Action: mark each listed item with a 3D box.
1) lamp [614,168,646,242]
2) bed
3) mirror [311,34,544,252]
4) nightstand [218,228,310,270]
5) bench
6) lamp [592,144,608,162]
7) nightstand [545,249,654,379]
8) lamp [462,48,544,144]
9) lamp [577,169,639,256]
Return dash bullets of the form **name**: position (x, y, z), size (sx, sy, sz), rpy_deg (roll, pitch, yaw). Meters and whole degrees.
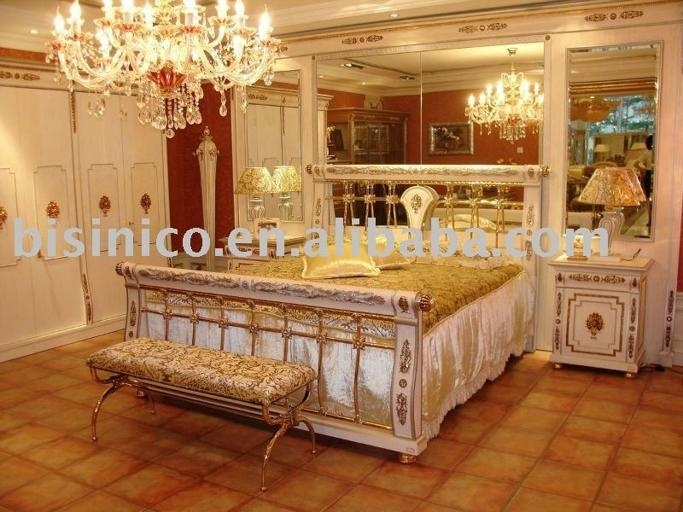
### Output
- **lamp**: position (2.540, -0.459, 4.442), size (0.222, 0.615, 0.384), rpy_deg (6, 13, 30)
- **bed**: position (0.131, 0.100, 4.713), size (2.670, 1.781, 2.733), rpy_deg (6, 12, 33)
- **mirror**: position (0.960, -1.177, 5.174), size (2.439, 1.595, 0.061), rpy_deg (4, 10, 26)
- **nightstand**: position (-0.987, 0.075, 5.902), size (0.695, 0.651, 0.514), rpy_deg (3, 19, 8)
- **bench**: position (-0.917, 0.976, 3.447), size (1.478, 0.608, 0.636), rpy_deg (4, 12, 25)
- **lamp**: position (2.367, -0.943, 4.635), size (0.143, 0.171, 0.134), rpy_deg (0, 9, 14)
- **nightstand**: position (2.435, 0.582, 4.693), size (0.799, 0.936, 0.679), rpy_deg (2, -2, 43)
- **lamp**: position (1.674, -1.591, 5.000), size (0.878, 0.824, 0.837), rpy_deg (-2, 6, -21)
- **lamp**: position (2.406, -0.410, 4.574), size (0.615, 0.693, 0.602), rpy_deg (-4, 9, -41)
